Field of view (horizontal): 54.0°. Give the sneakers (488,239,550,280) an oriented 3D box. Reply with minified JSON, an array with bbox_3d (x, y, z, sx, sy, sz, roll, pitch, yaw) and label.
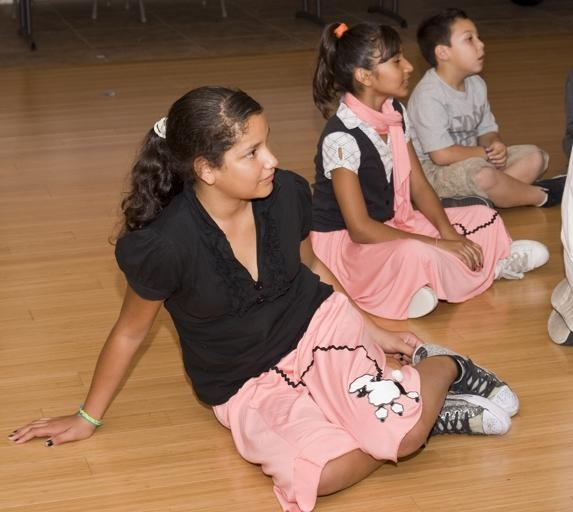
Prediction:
[{"bbox_3d":[0.830,0.006,2.058,0.197,0.122,0.069,-23,21,-8],"label":"sneakers"}]

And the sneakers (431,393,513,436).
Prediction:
[{"bbox_3d":[0.410,0.366,1.313,0.211,0.070,0.077,-1,16,9],"label":"sneakers"}]

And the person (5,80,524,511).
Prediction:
[{"bbox_3d":[0.018,0.118,1.475,1.152,0.825,0.904,-32,50,-29],"label":"person"}]

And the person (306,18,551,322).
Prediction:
[{"bbox_3d":[0.367,-0.341,2.265,1.048,1.130,1.008,9,34,24],"label":"person"}]
